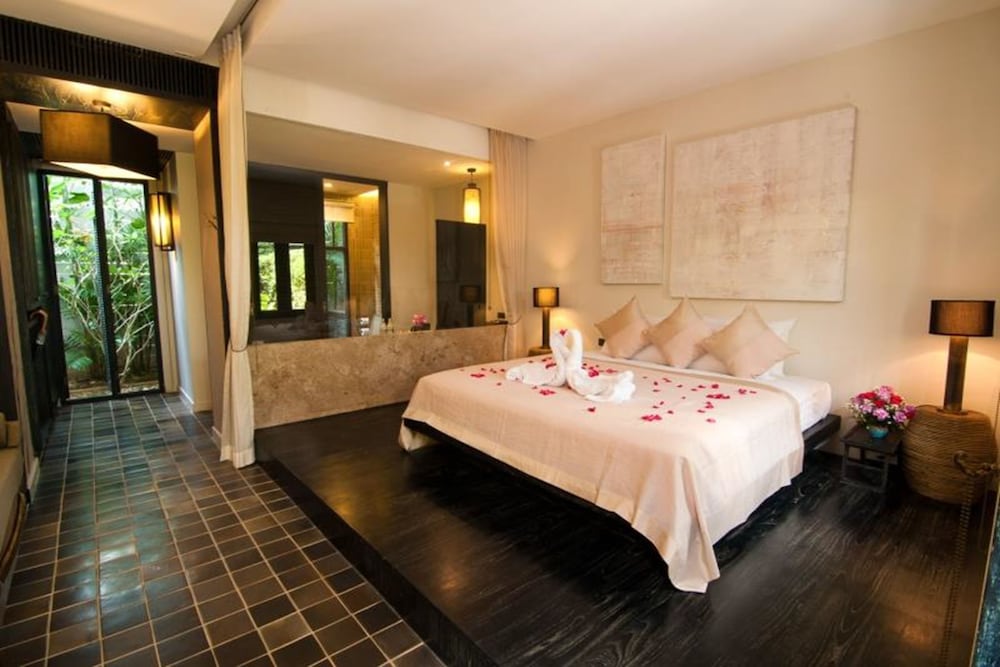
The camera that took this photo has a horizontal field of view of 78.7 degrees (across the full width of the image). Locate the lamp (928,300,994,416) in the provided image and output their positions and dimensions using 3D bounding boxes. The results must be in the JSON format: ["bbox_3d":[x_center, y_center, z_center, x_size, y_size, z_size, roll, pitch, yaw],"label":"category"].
[{"bbox_3d":[3.968,0.202,5.271,0.439,0.972,0.229,3,9,27],"label":"lamp"}]

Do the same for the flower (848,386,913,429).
[{"bbox_3d":[3.524,0.663,5.632,0.395,0.361,0.419,3,4,36],"label":"flower"}]

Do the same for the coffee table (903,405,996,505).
[{"bbox_3d":[3.900,1.062,5.288,0.671,0.742,0.327,4,9,33],"label":"coffee table"}]

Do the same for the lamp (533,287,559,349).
[{"bbox_3d":[0.615,-0.180,8.130,0.364,0.837,0.386,1,1,31],"label":"lamp"}]

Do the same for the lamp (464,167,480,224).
[{"bbox_3d":[-0.394,-1.933,8.698,0.238,0.758,0.552,-1,7,1],"label":"lamp"}]

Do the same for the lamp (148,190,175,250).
[{"bbox_3d":[-4.310,-1.421,7.719,0.472,0.713,0.190,2,8,22],"label":"lamp"}]

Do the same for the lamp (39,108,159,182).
[{"bbox_3d":[-3.650,-1.696,5.613,0.934,0.419,0.500,-2,-2,-41],"label":"lamp"}]

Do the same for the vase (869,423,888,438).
[{"bbox_3d":[3.424,0.861,5.497,0.120,0.083,0.109,8,-13,-26],"label":"vase"}]
